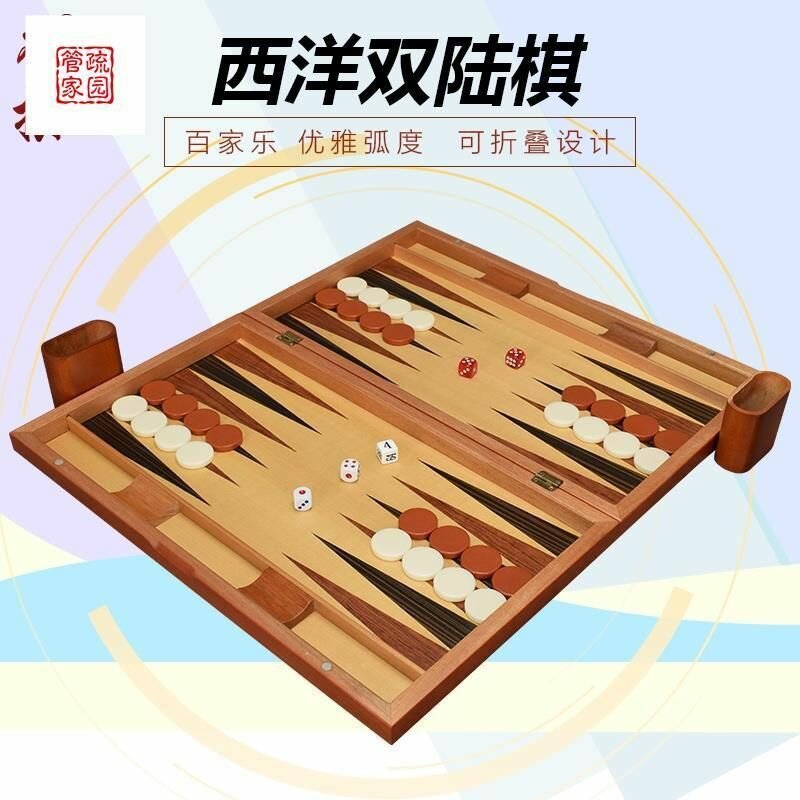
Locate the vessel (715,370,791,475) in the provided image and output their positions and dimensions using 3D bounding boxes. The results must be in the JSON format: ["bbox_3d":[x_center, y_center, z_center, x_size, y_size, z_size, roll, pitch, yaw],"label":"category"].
[{"bbox_3d":[1.600,0.096,3.662,0.226,0.413,0.402,31,-25,28],"label":"vessel"}]

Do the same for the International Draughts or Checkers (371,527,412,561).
[{"bbox_3d":[-0.038,0.580,3.257,0.143,0.119,0.028,-4,-55,-5],"label":"International Draughts or Checkers"}]

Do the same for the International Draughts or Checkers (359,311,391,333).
[{"bbox_3d":[-0.148,-0.459,4.561,0.161,0.132,0.030,-6,-50,-8],"label":"International Draughts or Checkers"}]

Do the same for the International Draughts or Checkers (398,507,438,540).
[{"bbox_3d":[0.084,0.510,3.353,0.146,0.121,0.027,-3,-56,-5],"label":"International Draughts or Checkers"}]

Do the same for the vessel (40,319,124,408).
[{"bbox_3d":[-1.504,-0.145,3.804,0.204,0.365,0.318,31,-42,31],"label":"vessel"}]

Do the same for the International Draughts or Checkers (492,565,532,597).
[{"bbox_3d":[0.426,0.695,3.096,0.129,0.109,0.021,-5,-63,-5],"label":"International Draughts or Checkers"}]

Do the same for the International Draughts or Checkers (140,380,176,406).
[{"bbox_3d":[-1.221,-0.048,4.051,0.161,0.133,0.031,-3,-53,-8],"label":"International Draughts or Checkers"}]

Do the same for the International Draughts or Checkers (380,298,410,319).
[{"bbox_3d":[-0.022,-0.542,4.661,0.157,0.130,0.028,-4,-54,-7],"label":"International Draughts or Checkers"}]

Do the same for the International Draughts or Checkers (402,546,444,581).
[{"bbox_3d":[0.089,0.645,3.175,0.145,0.121,0.027,-3,-58,-4],"label":"International Draughts or Checkers"}]
